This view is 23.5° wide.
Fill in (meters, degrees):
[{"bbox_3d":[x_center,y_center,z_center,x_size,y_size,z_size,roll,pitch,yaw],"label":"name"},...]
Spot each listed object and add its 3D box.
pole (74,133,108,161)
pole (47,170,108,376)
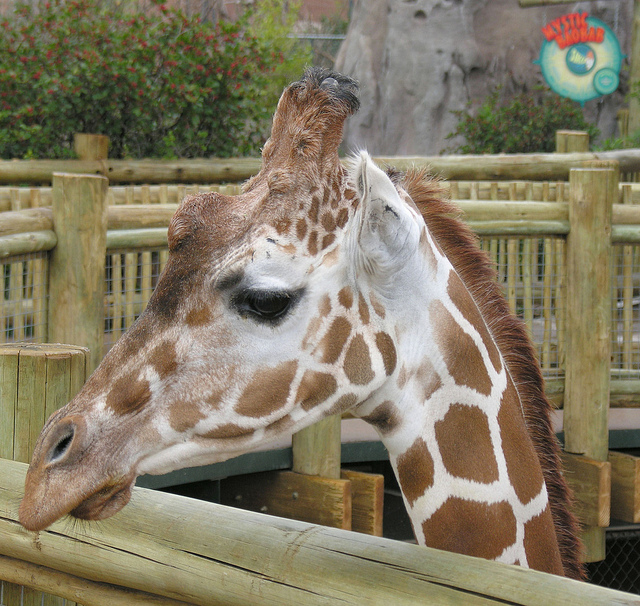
[{"bbox_3d":[-2.436,-1.677,16.625,0.299,0.374,0.312,1,3,-17],"label":"pole"},{"bbox_3d":[-1.674,-0.187,11.154,0.352,1.626,0.342,14,23,32],"label":"pole"}]
